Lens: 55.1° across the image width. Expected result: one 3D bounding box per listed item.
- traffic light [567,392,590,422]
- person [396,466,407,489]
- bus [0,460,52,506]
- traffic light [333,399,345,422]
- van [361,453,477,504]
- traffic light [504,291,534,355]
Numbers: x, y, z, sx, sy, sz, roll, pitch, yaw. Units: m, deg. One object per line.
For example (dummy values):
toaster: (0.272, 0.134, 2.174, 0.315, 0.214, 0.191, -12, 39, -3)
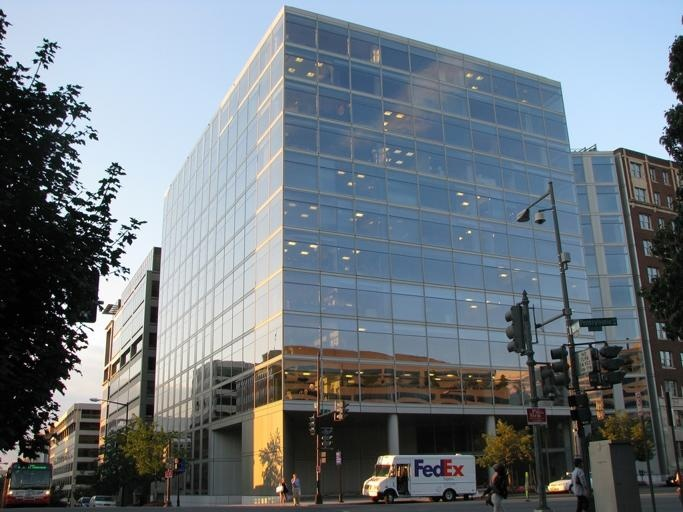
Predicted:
traffic light: (8.164, 5.185, 22.334, 0.597, 0.961, 0.693, -8, -23, 14)
person: (3.965, 14.370, 42.268, 0.705, 1.658, 0.404, -3, -22, 3)
bus: (-22.987, 16.720, 48.030, 2.724, 3.175, 3.050, 13, -26, -33)
traffic light: (-0.063, 9.555, 40.799, 0.679, 1.200, 1.353, -2, -22, 0)
van: (5.415, 14.832, 43.453, 6.369, 2.556, 2.686, 5, -35, -12)
traffic light: (6.202, 2.372, 22.780, 0.890, 2.277, 0.635, -11, -25, 28)
